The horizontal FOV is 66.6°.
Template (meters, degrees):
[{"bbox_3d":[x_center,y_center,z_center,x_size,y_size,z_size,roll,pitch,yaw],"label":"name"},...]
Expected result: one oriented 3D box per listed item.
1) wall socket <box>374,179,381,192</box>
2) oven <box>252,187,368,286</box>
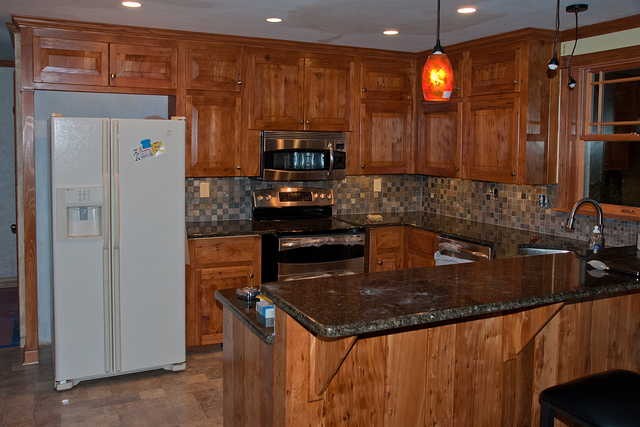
[{"bbox_3d":[0.696,-0.334,5.883,0.088,0.153,0.029,-7,16,-27],"label":"wall socket"},{"bbox_3d":[-0.133,0.352,5.224,1.030,1.154,0.964,-11,18,-40],"label":"oven"}]
